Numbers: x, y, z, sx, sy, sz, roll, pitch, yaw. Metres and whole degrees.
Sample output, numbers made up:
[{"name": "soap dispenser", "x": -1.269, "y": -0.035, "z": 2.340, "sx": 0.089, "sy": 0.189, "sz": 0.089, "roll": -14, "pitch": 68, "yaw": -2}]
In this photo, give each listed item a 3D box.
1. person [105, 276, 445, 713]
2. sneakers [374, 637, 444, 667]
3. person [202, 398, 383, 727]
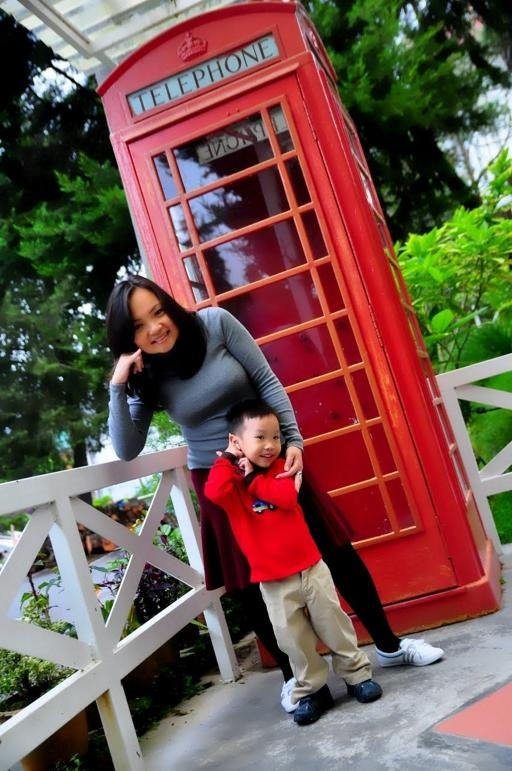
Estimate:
[{"name": "person", "x": 0.002, "y": 0.346, "z": 1.811, "sx": 0.697, "sy": 1.506, "sz": 0.507, "roll": -24, "pitch": 9, "yaw": -5}, {"name": "sneakers", "x": 0.480, "y": 0.818, "z": 1.854, "sx": 0.211, "sy": 0.079, "sz": 0.085, "roll": -9, "pitch": 21, "yaw": 22}, {"name": "person", "x": 0.076, "y": 0.504, "z": 1.636, "sx": 0.313, "sy": 0.937, "sz": 0.245, "roll": -25, "pitch": 1, "yaw": -1}]
